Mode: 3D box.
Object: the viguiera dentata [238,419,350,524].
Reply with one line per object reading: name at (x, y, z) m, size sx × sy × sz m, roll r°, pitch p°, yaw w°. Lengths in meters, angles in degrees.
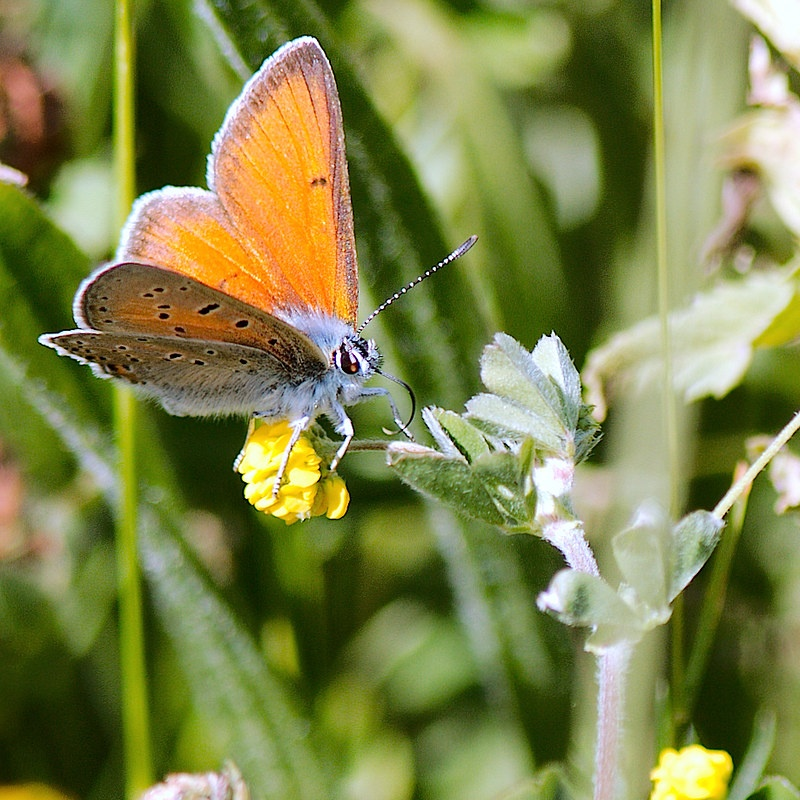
viguiera dentata at (-0.203, 0.114, 2.053) m, size 0.154 × 0.218 × 0.136 m, roll -5°, pitch -22°, yaw -34°
